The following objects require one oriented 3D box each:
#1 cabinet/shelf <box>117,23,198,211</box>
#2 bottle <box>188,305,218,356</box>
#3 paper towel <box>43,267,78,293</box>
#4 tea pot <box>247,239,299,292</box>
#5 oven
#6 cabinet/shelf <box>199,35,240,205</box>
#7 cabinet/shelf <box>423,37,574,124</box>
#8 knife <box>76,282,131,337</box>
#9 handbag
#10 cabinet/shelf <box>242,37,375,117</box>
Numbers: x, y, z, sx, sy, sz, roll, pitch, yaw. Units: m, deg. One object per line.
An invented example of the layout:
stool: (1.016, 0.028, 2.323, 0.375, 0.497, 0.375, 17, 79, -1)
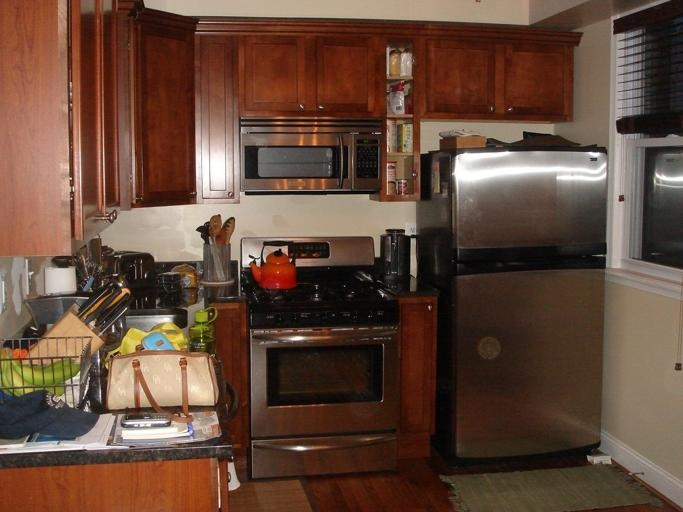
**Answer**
cabinet/shelf: (-1.038, -0.802, 3.393, 0.173, 1.075, 0.655, 7, 13, 19)
bottle: (-0.566, 0.310, 2.417, 0.127, 0.205, 0.121, 0, 3, 0)
paper towel: (-1.362, 0.119, 2.888, 0.148, 0.144, 0.134, 1, 10, -3)
tea pot: (-0.427, 0.066, 3.741, 0.272, 0.239, 0.349, -2, 12, -9)
oven: (-0.195, 0.757, 3.592, 1.016, 0.728, 0.604, 3, -14, -26)
cabinet/shelf: (-0.755, -0.839, 3.716, 0.285, 1.079, 0.098, 2, 6, 12)
cabinet/shelf: (0.989, -1.156, 3.924, 1.130, 0.531, 0.241, -4, 7, -17)
knife: (-0.828, 0.180, 2.092, 0.205, 0.116, 0.053, -55, 4, -34)
handbag: (-0.606, 0.387, 2.066, 0.467, 0.312, 0.227, 0, -4, -9)
cabinet/shelf: (-0.143, -1.162, 3.796, 0.973, 0.474, 0.329, 7, 19, 19)
